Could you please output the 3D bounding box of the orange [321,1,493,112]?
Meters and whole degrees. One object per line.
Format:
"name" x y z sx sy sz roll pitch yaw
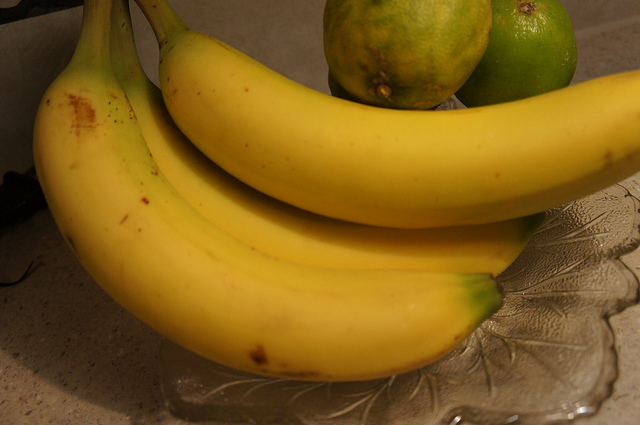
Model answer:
"orange" 0.105 -0.199 0.832 0.190 0.163 0.152 9 50 -8
